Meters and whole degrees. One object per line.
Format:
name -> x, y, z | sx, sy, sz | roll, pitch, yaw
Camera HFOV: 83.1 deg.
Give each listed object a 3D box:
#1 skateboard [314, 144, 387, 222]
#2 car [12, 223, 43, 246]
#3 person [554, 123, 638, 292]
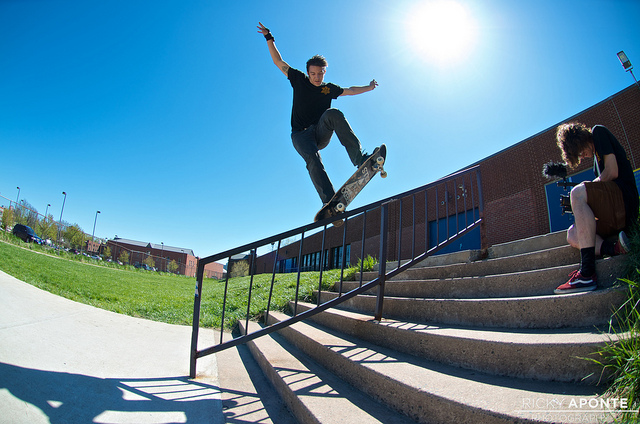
skateboard -> 0.411, -0.383, 5.096 | 0.194, 1.340, 0.354 | 30, -14, 46
car -> -24.808, 1.849, 30.437 | 2.143, 1.096, 0.940 | 31, -4, 27
person -> 3.390, -0.001, 4.479 | 0.838, 2.143, 1.325 | 6, -8, 33
